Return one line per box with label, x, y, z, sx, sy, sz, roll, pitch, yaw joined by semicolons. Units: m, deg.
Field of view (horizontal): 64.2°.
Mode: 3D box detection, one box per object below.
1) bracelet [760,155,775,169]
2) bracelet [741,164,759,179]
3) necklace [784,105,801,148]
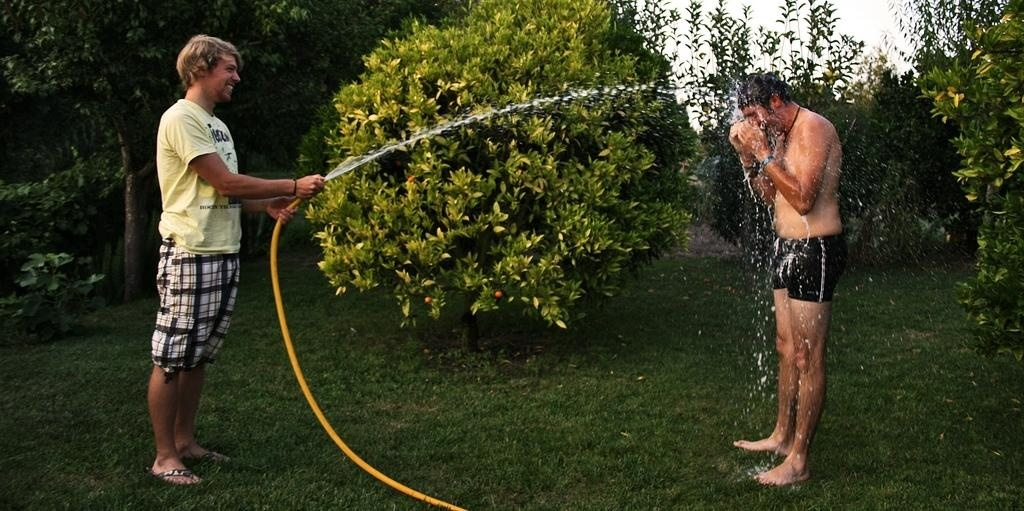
bracelet;3.037;-1.117;9.717;0.111;0.137;0.142;30;39;-8
bracelet;2.938;-1.030;10.082;0.178;0.123;0.175;-1;7;9
necklace;3.360;-1.550;9.840;0.100;0.381;0.309;28;7;14
